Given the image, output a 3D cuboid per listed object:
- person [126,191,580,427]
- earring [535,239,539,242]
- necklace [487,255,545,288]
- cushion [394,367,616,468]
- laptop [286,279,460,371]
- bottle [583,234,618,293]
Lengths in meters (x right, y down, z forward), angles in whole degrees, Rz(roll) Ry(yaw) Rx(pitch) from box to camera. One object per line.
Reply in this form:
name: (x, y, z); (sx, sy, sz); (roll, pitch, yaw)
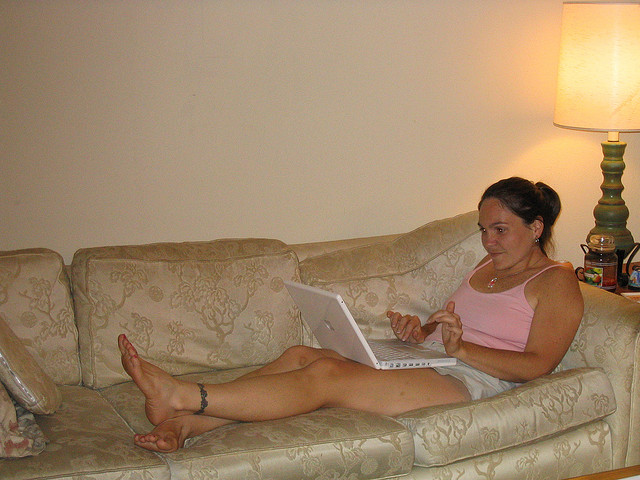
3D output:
person: (0.228, 0.223, 1.878); (1.420, 0.683, 0.495); (-7, 10, -24)
earring: (0.801, 0.000, 2.092); (0.011, 0.011, 0.003); (-3, 11, -24)
necklace: (0.722, 0.115, 2.061); (0.012, 0.087, 0.264); (8, -29, -27)
cushion: (0.605, 0.560, 1.775); (0.375, 0.123, 0.388); (-19, -13, -11)
laptop: (0.172, 0.331, 1.953); (0.379, 0.253, 0.402); (-2, 2, -26)
bottle: (1.220, 0.109, 2.469); (0.140, 0.257, 0.150); (-2, 10, 0)
